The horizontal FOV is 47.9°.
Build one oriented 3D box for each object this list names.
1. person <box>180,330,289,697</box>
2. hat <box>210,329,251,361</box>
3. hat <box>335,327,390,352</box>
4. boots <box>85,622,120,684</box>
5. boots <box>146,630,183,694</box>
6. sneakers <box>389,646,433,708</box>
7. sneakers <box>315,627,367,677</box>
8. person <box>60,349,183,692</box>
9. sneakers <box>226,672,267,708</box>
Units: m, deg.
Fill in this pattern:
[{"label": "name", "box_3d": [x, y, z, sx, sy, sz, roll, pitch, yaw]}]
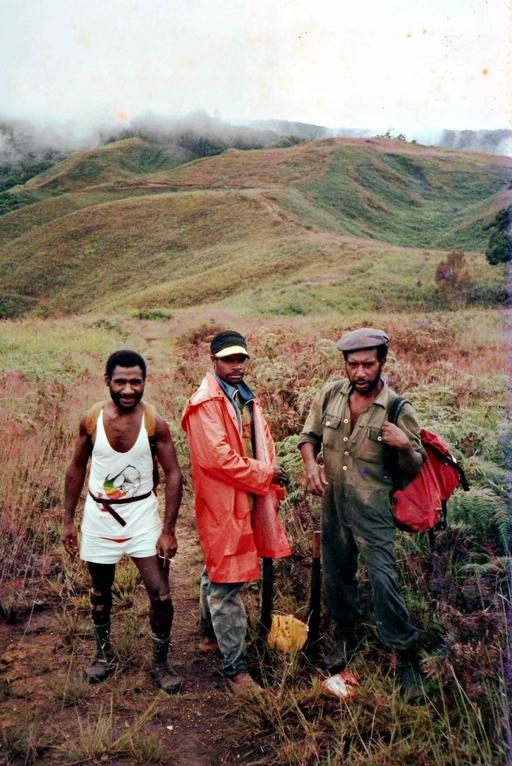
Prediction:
[{"label": "person", "box_3d": [-0.092, 0.811, 3.529, 0.626, 2.131, 0.976, -4, 17, -9]}, {"label": "hat", "box_3d": [-0.173, -0.229, 3.638, 0.158, 0.136, 0.225, 6, -8, -11]}, {"label": "hat", "box_3d": [0.599, -0.240, 3.341, 0.189, 0.067, 0.188, -4, 4, 41]}, {"label": "boots", "box_3d": [-0.990, 1.710, 3.649, 0.158, 0.328, 0.340, -4, -9, 1]}, {"label": "boots", "box_3d": [-0.557, 1.724, 3.569, 0.136, 0.297, 0.306, -4, 11, -36]}, {"label": "sneakers", "box_3d": [0.875, 1.696, 3.305, 0.108, 0.081, 0.329, -20, 18, 4]}, {"label": "sneakers", "box_3d": [0.528, 1.734, 3.690, 0.171, 0.083, 0.304, -18, 8, 42]}, {"label": "person", "box_3d": [-0.805, 0.889, 3.440, 0.722, 2.099, 0.531, -2, 17, -4]}, {"label": "sneakers", "box_3d": [-0.043, 1.785, 3.390, 0.089, 0.251, 0.177, 3, 45, -51]}]
